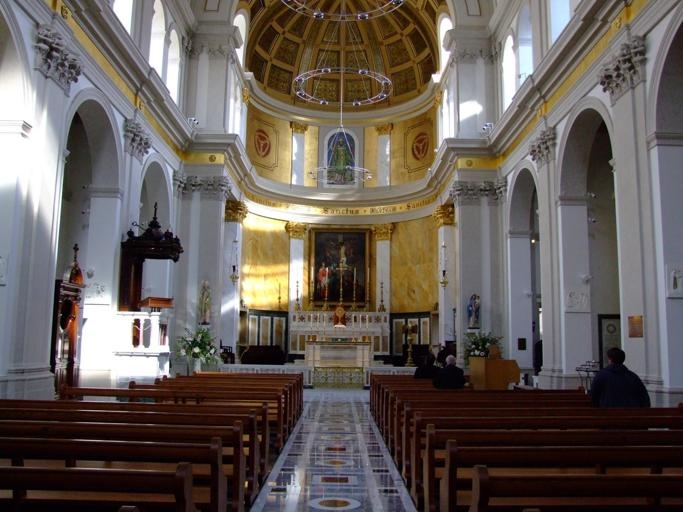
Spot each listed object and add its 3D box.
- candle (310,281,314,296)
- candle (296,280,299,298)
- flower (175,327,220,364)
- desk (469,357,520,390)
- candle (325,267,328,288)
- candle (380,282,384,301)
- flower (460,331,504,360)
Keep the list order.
[{"bbox_3d":[-1.247,1.413,25.729,0.144,0.698,0.252,1,-4,-4],"label":"candle"},{"bbox_3d":[-1.830,1.444,25.514,0.142,0.773,0.123,2,-4,-21],"label":"candle"},{"bbox_3d":[-3.728,2.562,16.543,0.603,0.838,0.655,6,-12,18],"label":"flower"},{"bbox_3d":[3.353,2.646,13.463,0.910,0.765,0.513,3,-8,-11],"label":"desk"},{"bbox_3d":[-0.587,0.874,25.889,0.146,0.795,0.350,1,-4,0],"label":"candle"},{"bbox_3d":[1.670,1.489,25.597,0.138,0.748,0.241,0,-4,2],"label":"candle"},{"bbox_3d":[4.051,2.513,17.664,1.049,0.852,1.077,0,-1,-13],"label":"flower"}]
